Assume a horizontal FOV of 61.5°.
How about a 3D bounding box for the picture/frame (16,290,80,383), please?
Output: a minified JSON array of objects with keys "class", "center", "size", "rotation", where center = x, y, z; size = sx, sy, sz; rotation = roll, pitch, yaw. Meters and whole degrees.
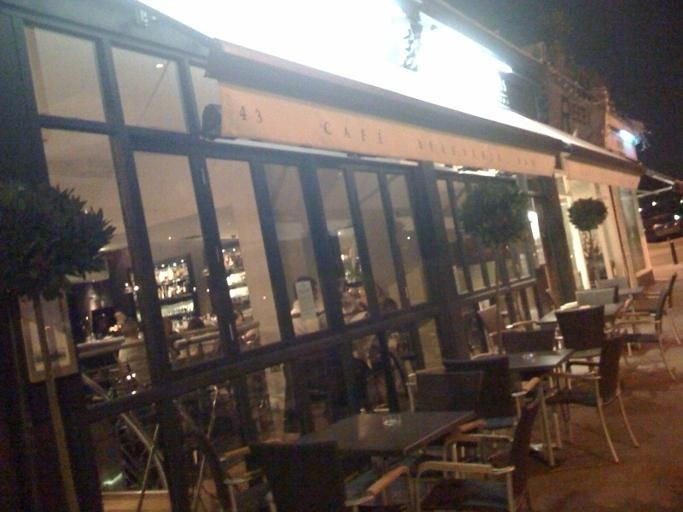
[{"class":"picture/frame","center":[-2.007,0.474,3.852],"size":[0.621,0.622,0.030],"rotation":[-5,7,28]}]
